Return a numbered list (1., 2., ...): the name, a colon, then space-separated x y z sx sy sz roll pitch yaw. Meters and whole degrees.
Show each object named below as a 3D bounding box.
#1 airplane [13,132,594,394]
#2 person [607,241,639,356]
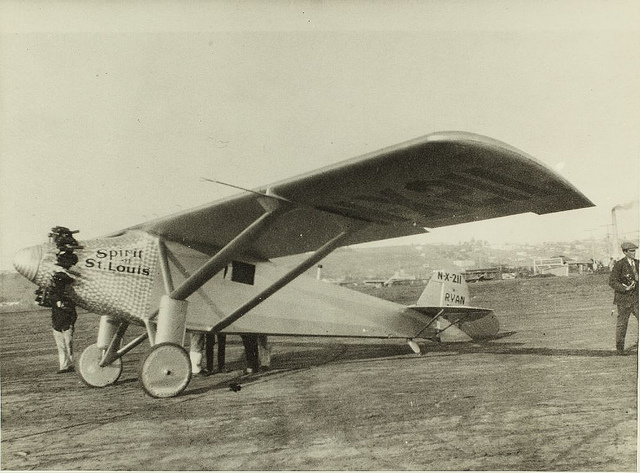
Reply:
1. airplane: -0.172 0.354 6.783 4.531 2.486 3.160 2 -5 -21
2. person: 3.717 0.762 7.888 0.337 1.396 0.485 -1 -5 24
